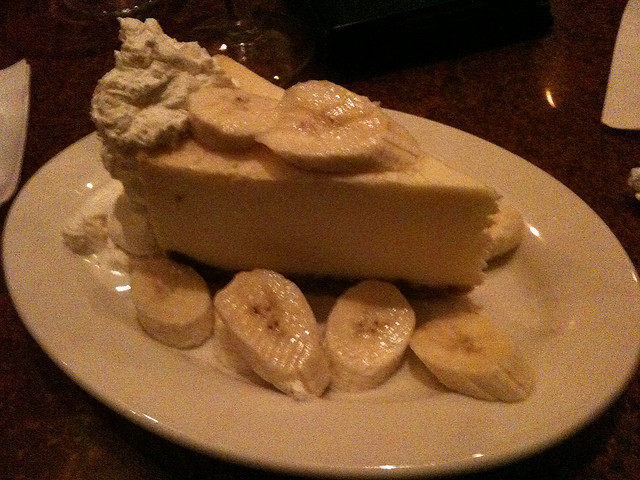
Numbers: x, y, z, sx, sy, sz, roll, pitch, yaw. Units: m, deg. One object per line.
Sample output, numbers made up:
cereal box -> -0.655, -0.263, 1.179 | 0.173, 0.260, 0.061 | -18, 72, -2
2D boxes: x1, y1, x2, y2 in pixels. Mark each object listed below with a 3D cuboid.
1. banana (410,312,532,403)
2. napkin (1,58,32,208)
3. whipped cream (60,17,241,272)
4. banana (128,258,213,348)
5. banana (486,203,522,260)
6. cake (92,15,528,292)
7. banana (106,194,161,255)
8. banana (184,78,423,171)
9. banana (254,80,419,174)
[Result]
banana -> 0.271, 0.215, 1.188 | 0.174, 0.051, 0.226 | -15, 32, -25
napkin -> -0.722, -0.236, 1.496 | 0.071, 0.027, 0.383 | -11, 63, 1
whipped cream -> -0.354, -0.177, 1.262 | 0.231, 0.290, 0.458 | 27, 70, 18
banana -> -0.286, 0.113, 1.229 | 0.113, 0.049, 0.193 | -26, 46, -35
banana -> 0.377, -0.018, 1.308 | 0.113, 0.035, 0.105 | 13, 67, 14
cake -> 0.009, -0.150, 1.357 | 0.935, 0.445, 0.424 | 18, 55, 10
banana -> -0.392, -0.034, 1.340 | 0.125, 0.043, 0.115 | 13, 81, -2
banana -> -0.038, -0.209, 1.180 | 0.389, 0.060, 0.191 | 15, 52, 12
banana -> 0.030, -0.192, 1.171 | 0.238, 0.054, 0.172 | 21, 58, 14
